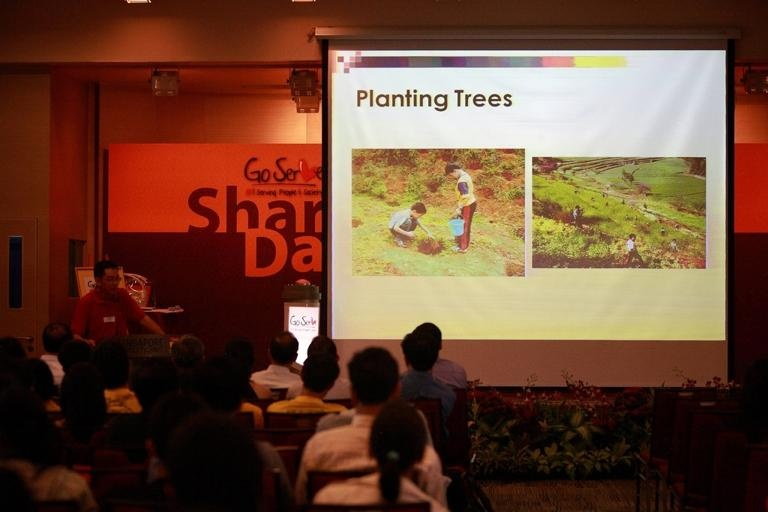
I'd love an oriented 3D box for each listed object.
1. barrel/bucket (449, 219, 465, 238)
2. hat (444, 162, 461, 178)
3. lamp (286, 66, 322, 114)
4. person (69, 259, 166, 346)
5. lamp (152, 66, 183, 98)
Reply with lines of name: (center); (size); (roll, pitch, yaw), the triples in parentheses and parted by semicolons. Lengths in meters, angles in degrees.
barrel/bucket: (0.836, -0.326, 7.692); (0.193, 0.140, 0.179); (0, 3, 0)
hat: (0.814, -0.984, 7.799); (0.146, 0.188, 0.149); (-1, 1, 2)
lamp: (-1.048, -2.186, 8.827); (0.388, 0.491, 0.582); (0, 3, -9)
person: (-3.162, 0.544, 7.866); (0.814, 1.313, 0.896); (6, 10, 41)
lamp: (-2.883, -2.270, 8.837); (0.449, 0.412, 0.321); (1, 9, -1)
